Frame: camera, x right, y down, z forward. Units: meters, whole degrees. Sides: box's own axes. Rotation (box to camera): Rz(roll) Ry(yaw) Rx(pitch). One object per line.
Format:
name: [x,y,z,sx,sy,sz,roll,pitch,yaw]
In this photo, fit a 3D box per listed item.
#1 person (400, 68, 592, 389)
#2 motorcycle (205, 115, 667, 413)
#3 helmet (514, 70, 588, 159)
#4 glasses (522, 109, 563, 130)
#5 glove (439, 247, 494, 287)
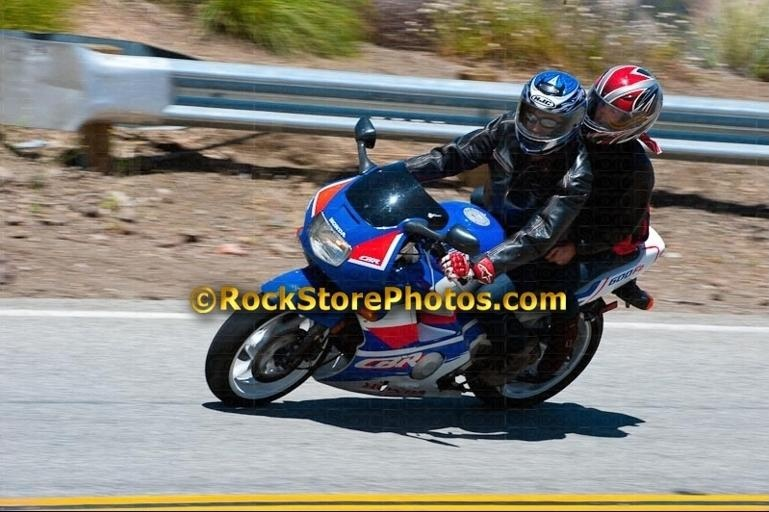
person: [0.763,-0.135,6.515,1.194,2.183,1.106,1,33,-11]
motorcycle: [0.337,0.451,6.704,3.053,0.925,1.271,6,-2,-35]
helmet: [1.046,-0.889,6.299,0.395,0.478,0.311,9,31,4]
glasses: [0.996,-0.862,6.253,0.174,0.080,0.178,12,-11,24]
glove: [0.518,0.053,6.200,0.456,0.170,0.150,-9,0,-26]
